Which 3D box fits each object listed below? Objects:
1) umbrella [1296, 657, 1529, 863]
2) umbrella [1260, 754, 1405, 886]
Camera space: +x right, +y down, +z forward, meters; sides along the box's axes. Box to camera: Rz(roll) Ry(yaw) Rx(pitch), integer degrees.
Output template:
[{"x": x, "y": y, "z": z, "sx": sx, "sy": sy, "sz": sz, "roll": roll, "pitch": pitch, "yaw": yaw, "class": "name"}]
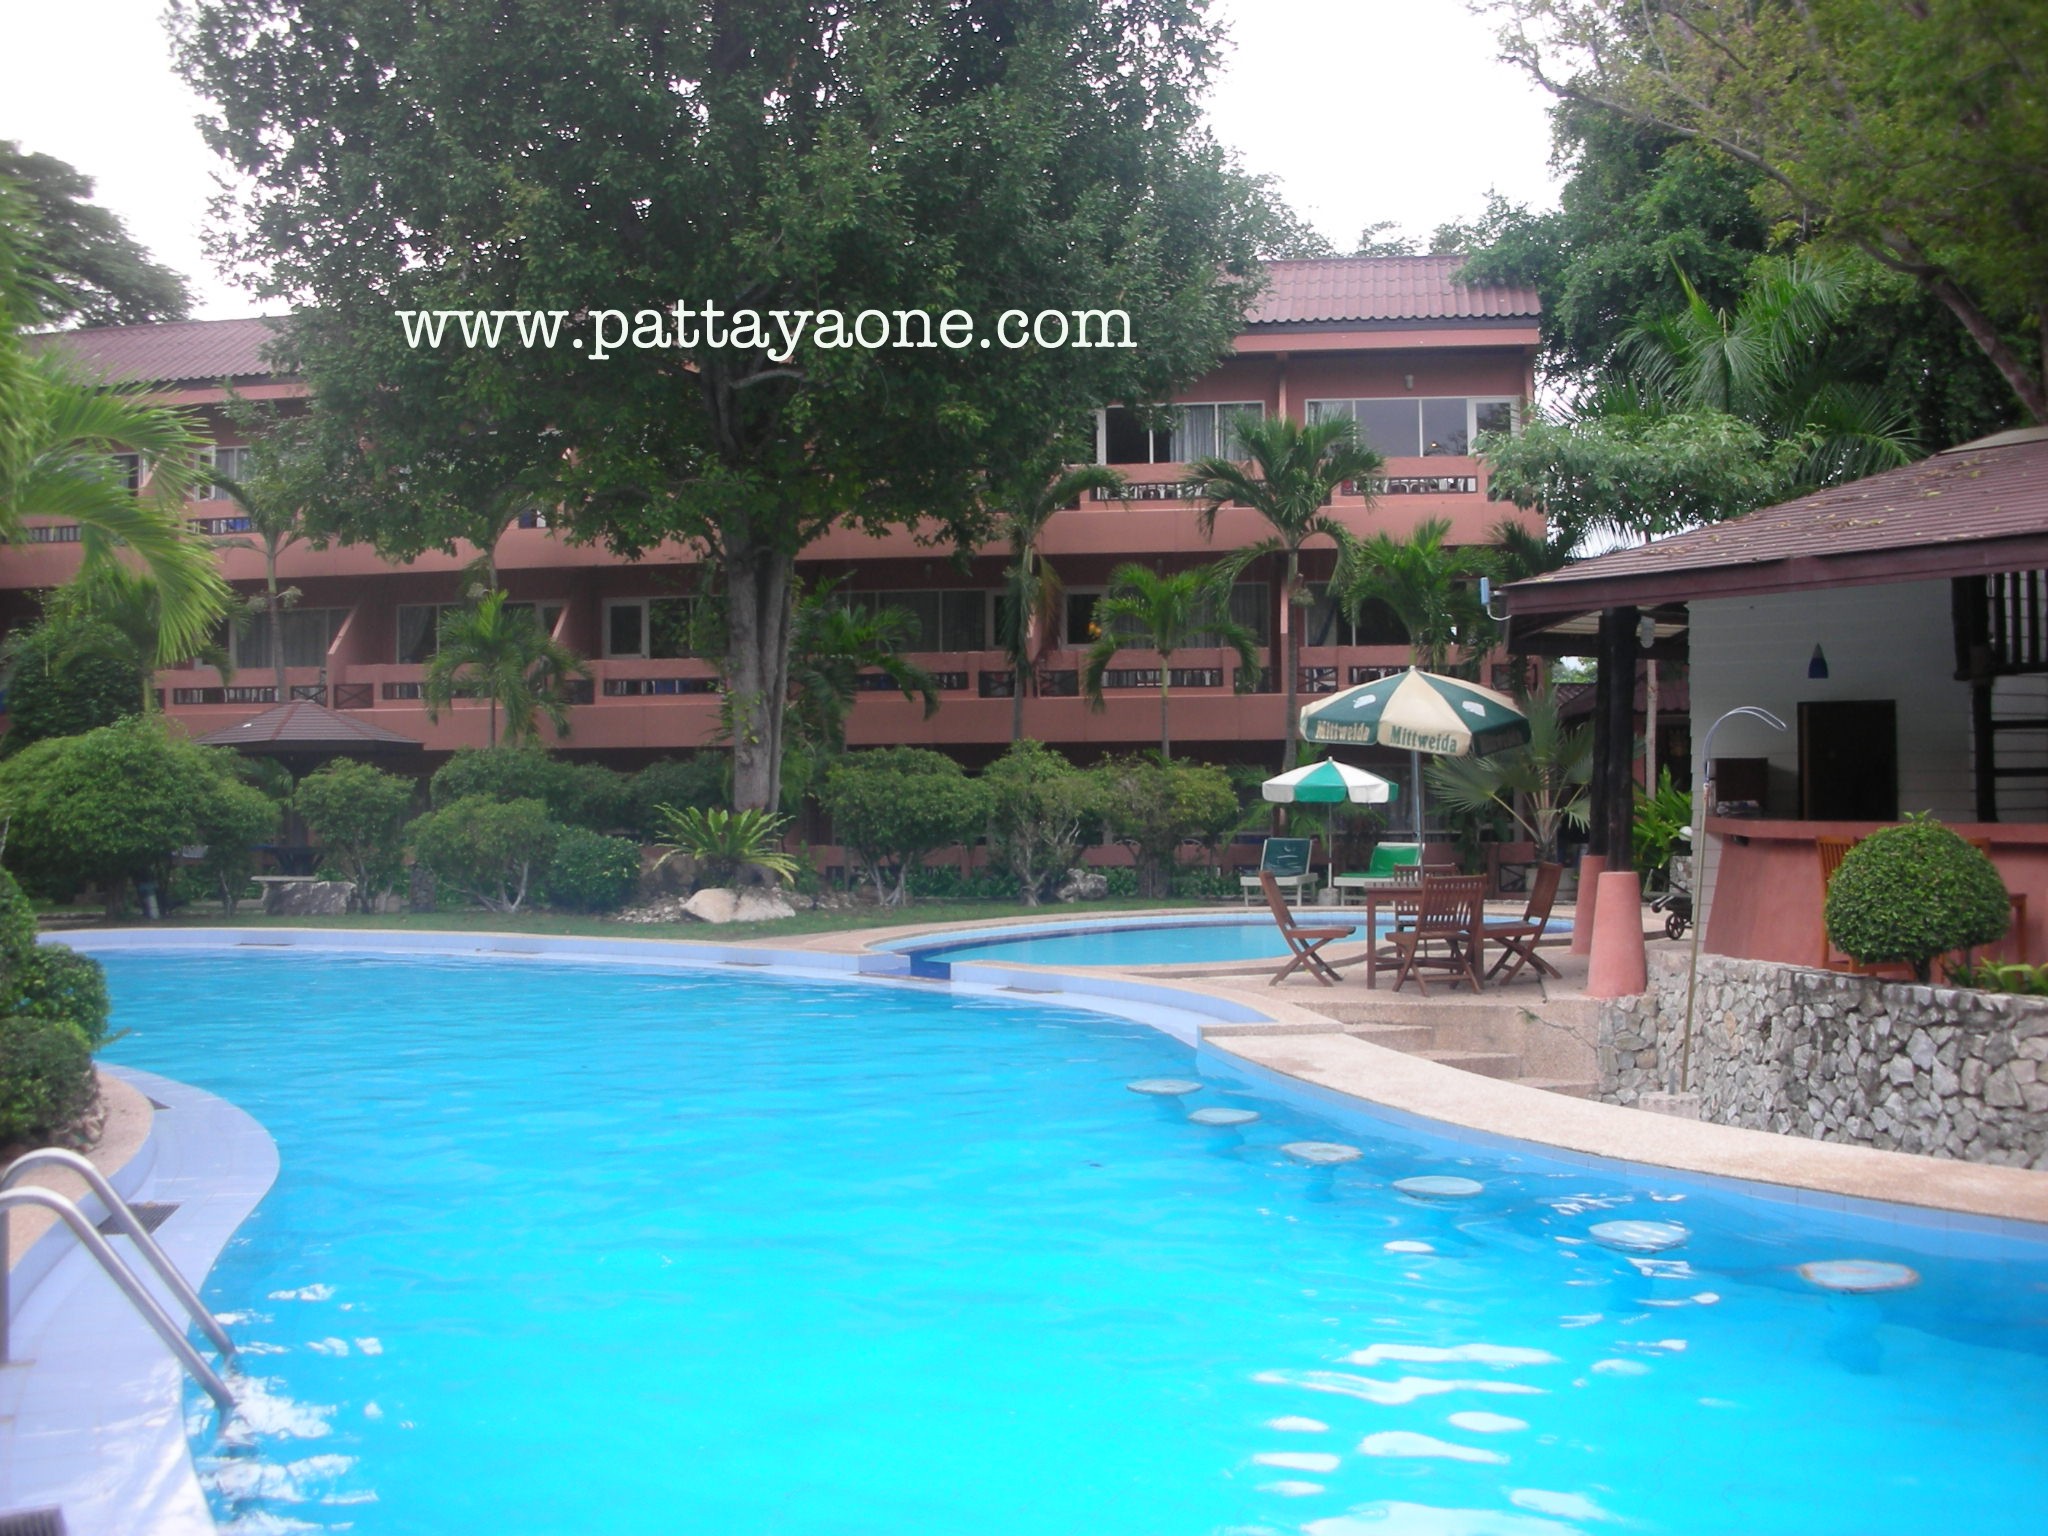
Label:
[{"x": 4.277, "y": -0.029, "z": 21.338, "sx": 2.415, "sy": 2.285, "sz": 2.407, "roll": 2, "pitch": 13, "yaw": -6, "class": "umbrella"}, {"x": 4.049, "y": 0.597, "z": 25.917, "sx": 1.285, "sy": 1.200, "sz": 1.274, "roll": -4, "pitch": 7, "yaw": -39, "class": "umbrella"}]
